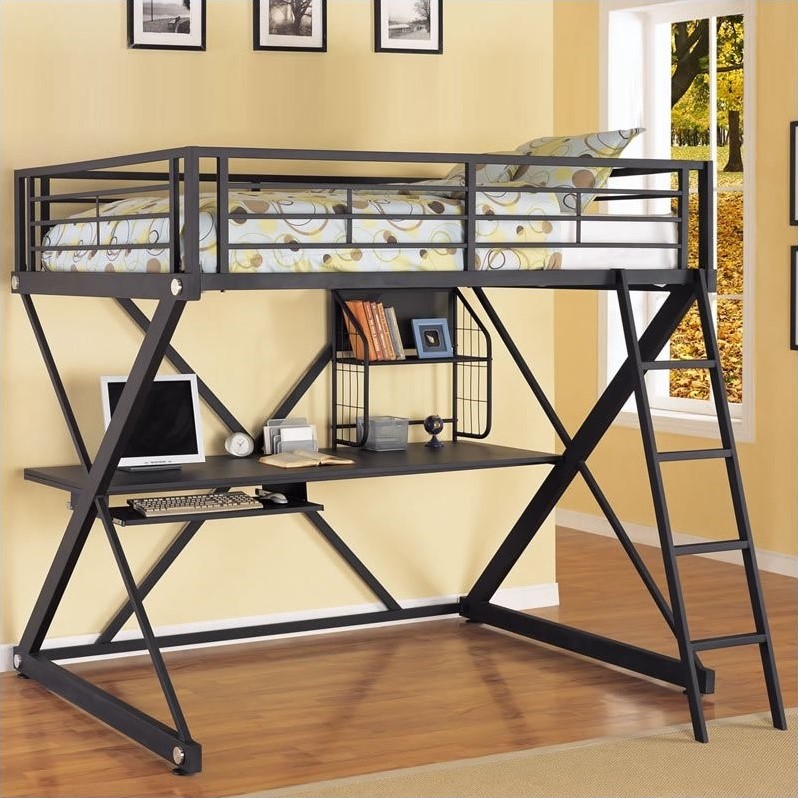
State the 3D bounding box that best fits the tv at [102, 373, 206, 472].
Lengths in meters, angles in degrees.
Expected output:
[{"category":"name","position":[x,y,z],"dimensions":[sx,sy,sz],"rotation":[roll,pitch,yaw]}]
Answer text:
[{"category":"tv","position":[-0.806,0.084,3.193],"dimensions":[0.353,0.300,0.037],"rotation":[2,-17,-29]}]
